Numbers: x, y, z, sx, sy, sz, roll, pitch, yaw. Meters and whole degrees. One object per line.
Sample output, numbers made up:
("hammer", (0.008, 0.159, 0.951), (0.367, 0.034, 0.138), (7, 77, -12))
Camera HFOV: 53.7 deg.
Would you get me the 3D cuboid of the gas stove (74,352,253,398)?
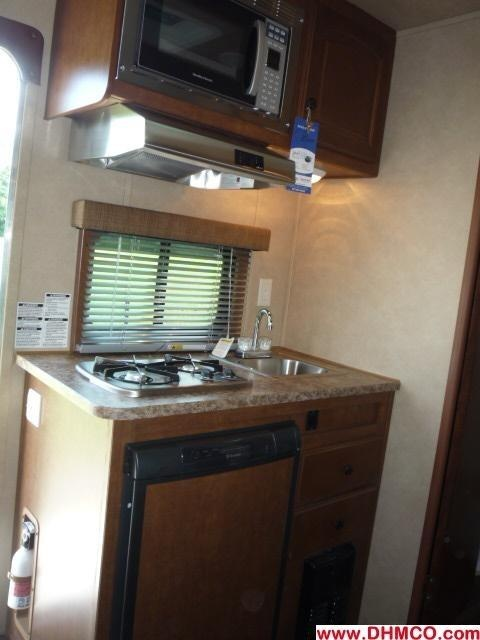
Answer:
("gas stove", (-0.248, 0.164, 1.521), (0.490, 0.049, 0.368), (-2, 13, -44))
